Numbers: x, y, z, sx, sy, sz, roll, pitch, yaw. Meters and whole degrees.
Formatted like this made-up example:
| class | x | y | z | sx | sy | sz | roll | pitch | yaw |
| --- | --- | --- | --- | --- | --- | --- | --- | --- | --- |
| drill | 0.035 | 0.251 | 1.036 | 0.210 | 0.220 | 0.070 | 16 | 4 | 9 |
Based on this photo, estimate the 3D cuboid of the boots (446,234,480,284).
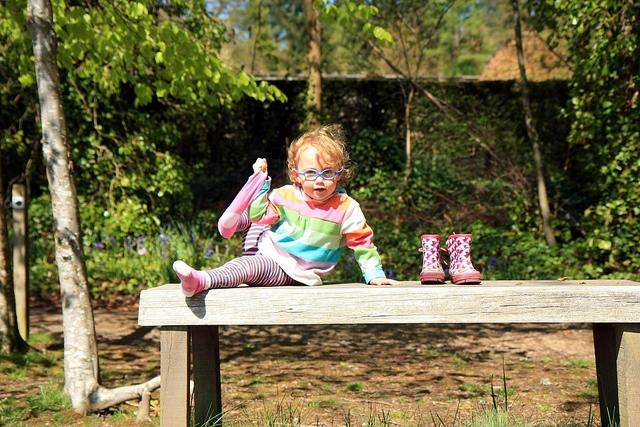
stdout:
| class | x | y | z | sx | sy | sz | roll | pitch | yaw |
| --- | --- | --- | --- | --- | --- | --- | --- | --- | --- |
| boots | 1.630 | 0.533 | 11.264 | 0.288 | 0.614 | 0.796 | 0 | -1 | -6 |

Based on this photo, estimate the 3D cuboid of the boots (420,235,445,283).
| class | x | y | z | sx | sy | sz | roll | pitch | yaw |
| --- | --- | --- | --- | --- | --- | --- | --- | --- | --- |
| boots | 1.281 | 0.528 | 11.340 | 0.274 | 0.370 | 0.308 | -4 | -3 | 7 |
